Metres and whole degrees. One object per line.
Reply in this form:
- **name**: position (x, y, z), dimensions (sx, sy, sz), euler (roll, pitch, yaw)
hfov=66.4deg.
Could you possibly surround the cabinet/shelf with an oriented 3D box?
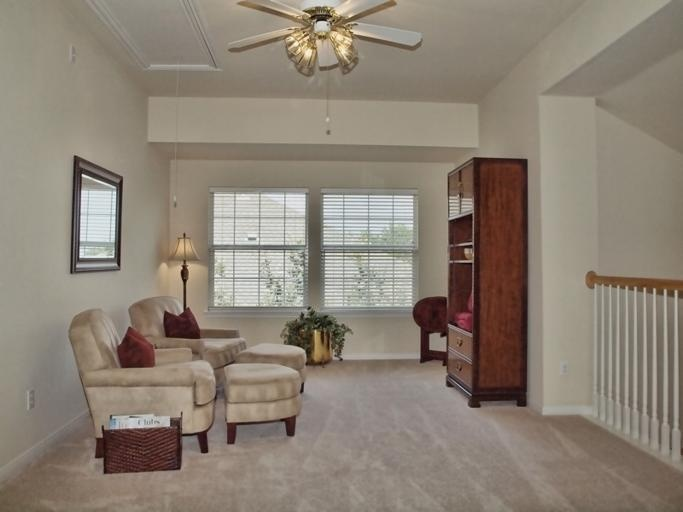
- **cabinet/shelf**: position (1.541, 0.238, 5.577), dimensions (0.711, 2.495, 0.998), euler (0, 6, 1)

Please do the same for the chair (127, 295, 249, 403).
- **chair**: position (-1.625, 0.972, 5.760), dimensions (1.134, 0.947, 1.169), euler (1, -1, -9)

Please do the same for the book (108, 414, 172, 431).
- **book**: position (-1.543, 1.265, 4.004), dimensions (0.457, 0.101, 0.043), euler (0, 6, -6)

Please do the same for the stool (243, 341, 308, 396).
- **stool**: position (-0.610, 1.182, 5.569), dimensions (0.921, 0.380, 0.950), euler (0, -1, -24)

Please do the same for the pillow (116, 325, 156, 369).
- **pillow**: position (-1.690, 0.736, 4.368), dimensions (0.154, 0.108, 0.308), euler (7, 28, -18)

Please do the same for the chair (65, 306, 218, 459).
- **chair**: position (-1.677, 1.044, 4.519), dimensions (1.110, 1.187, 0.922), euler (2, 3, -12)

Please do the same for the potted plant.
- **potted plant**: position (-0.332, 0.989, 6.757), dimensions (0.693, 0.563, 0.749), euler (1, -1, 2)
